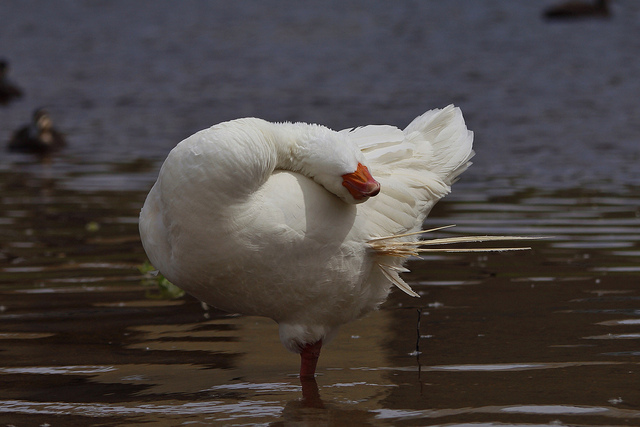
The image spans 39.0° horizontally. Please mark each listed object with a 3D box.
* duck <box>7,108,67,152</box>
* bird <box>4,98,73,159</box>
[{"bbox_3d":[-4.662,-1.315,14.856,0.879,0.550,0.870,2,22,7],"label":"duck"},{"bbox_3d":[-4.706,-1.305,15.200,1.085,0.439,1.362,5,0,-17],"label":"bird"}]
